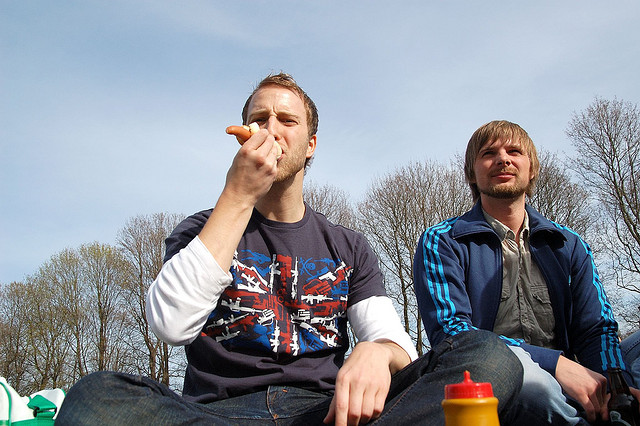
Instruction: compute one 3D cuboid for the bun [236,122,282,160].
[{"bbox_3d":[-0.451,-0.582,3.628,0.353,0.106,0.265,46,-9,5],"label":"bun"}]
